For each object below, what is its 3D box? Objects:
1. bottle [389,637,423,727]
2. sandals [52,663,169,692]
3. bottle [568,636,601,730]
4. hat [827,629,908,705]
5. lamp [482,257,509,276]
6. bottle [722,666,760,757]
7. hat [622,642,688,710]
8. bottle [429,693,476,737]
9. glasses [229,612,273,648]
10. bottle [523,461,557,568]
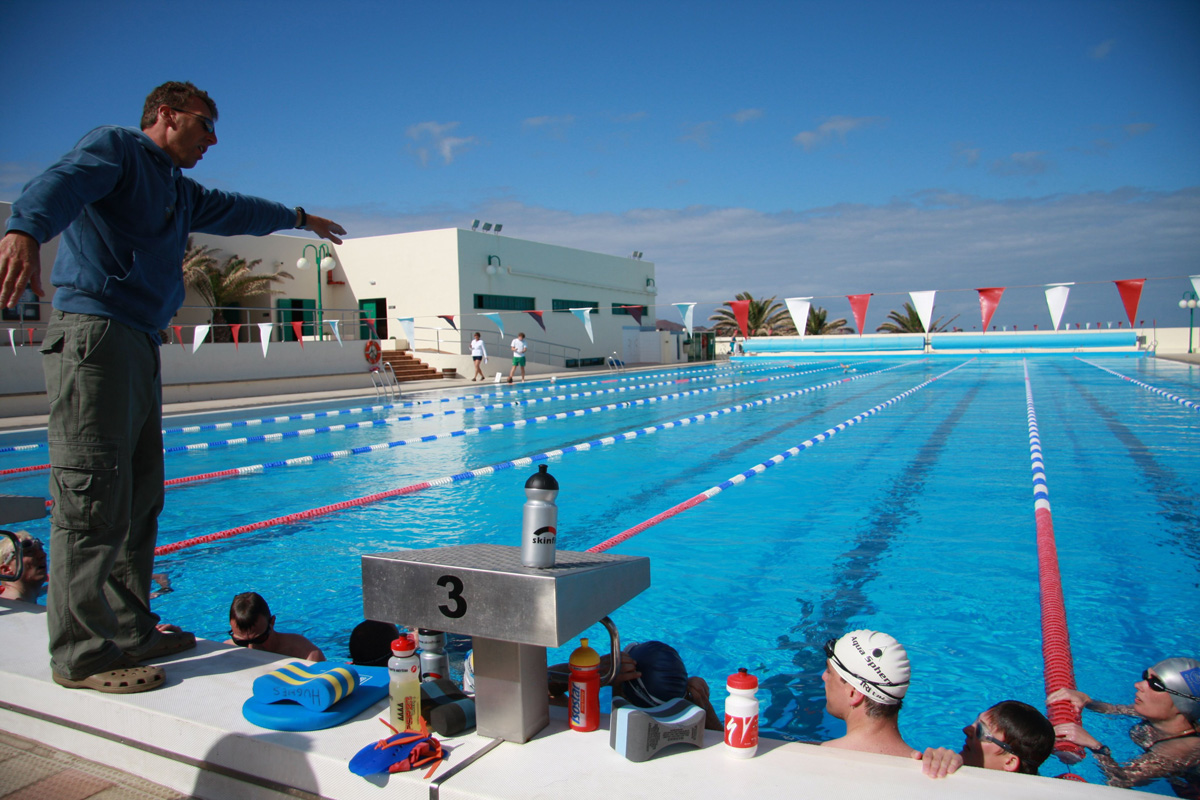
[{"bbox_3d":[-0.666,0.943,2.506,0.114,0.316,0.160,-3,8,-16],"label":"bottle"},{"bbox_3d":[-1.771,1.010,2.689,0.252,0.033,0.139,2,1,-4],"label":"sandals"},{"bbox_3d":[-0.057,0.942,2.513,0.123,0.323,0.152,-2,7,-2],"label":"bottle"},{"bbox_3d":[0.931,0.928,2.596,0.272,0.224,0.139,3,8,28],"label":"hat"},{"bbox_3d":[-3.754,-4.699,26.005,0.311,0.761,0.872,2,4,28],"label":"lamp"},{"bbox_3d":[0.455,0.998,2.391,0.110,0.253,0.118,-1,7,0],"label":"bottle"},{"bbox_3d":[0.192,0.998,2.663,0.242,0.168,0.286,0,7,7],"label":"hat"},{"bbox_3d":[-0.487,1.064,2.511,0.162,0.095,0.117,-7,9,-42],"label":"bottle"},{"bbox_3d":[-1.631,1.070,3.464,0.160,0.044,0.157,0,2,-3],"label":"glasses"},{"bbox_3d":[-0.202,0.368,2.437,0.114,0.319,0.229,-2,7,-4],"label":"bottle"}]
